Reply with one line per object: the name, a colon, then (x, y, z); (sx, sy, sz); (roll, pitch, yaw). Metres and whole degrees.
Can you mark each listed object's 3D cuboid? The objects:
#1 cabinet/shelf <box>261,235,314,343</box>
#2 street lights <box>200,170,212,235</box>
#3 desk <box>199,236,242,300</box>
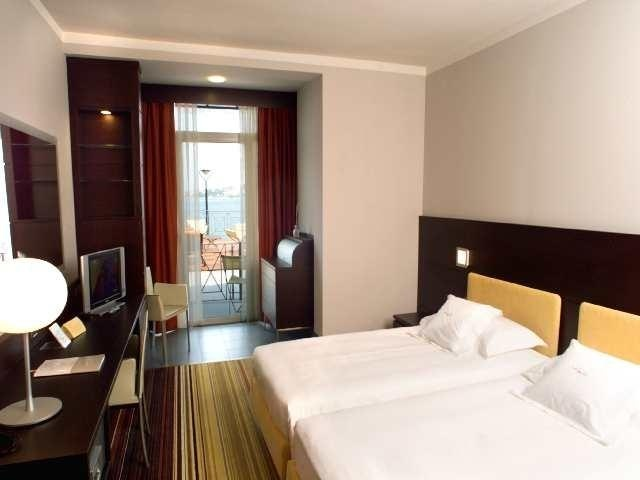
cabinet/shelf: (-0.363, 0.620, 5.265); (0.524, 1.505, 1.067); (-1, 6, -17)
street lights: (-1.421, -0.470, 5.598); (0.130, 0.828, 0.107); (-3, 13, -15)
desk: (-1.341, 0.275, 6.125); (0.598, 0.876, 0.853); (-2, 6, -21)
